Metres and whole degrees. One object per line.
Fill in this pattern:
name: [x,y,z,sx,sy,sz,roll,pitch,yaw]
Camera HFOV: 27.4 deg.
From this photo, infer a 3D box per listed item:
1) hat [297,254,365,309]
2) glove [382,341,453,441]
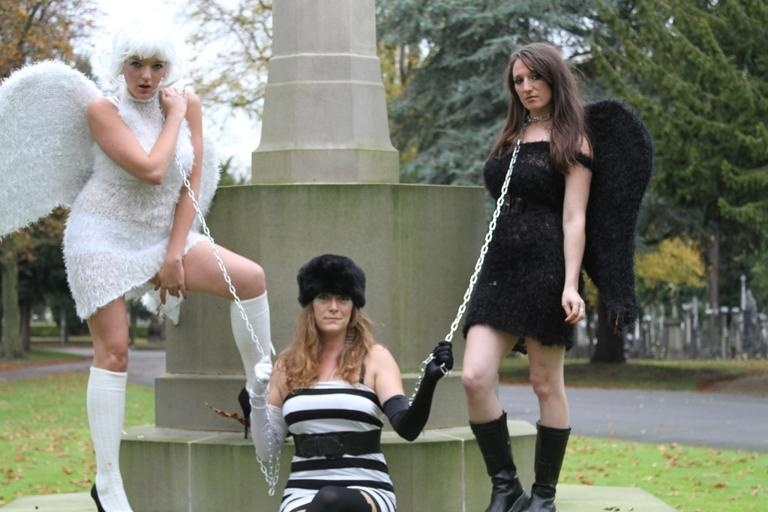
hat: [-0.478,0.226,14.455,0.506,0.382,0.515,0,-10,-5]
glove: [0.314,1.217,14.171,0.308,0.874,0.639,29,-16,-35]
